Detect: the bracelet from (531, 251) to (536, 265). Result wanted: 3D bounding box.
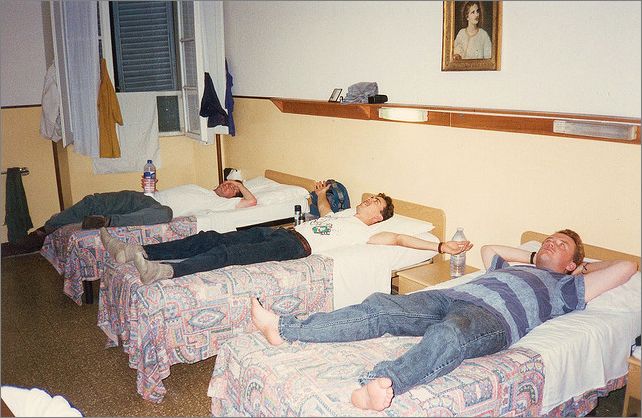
[{"bbox_3d":[1.751,0.399,3.902,0.032,0.080,0.070,10,-21,-9],"label":"bracelet"}]

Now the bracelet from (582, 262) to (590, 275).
[{"bbox_3d":[2.098,0.472,3.743,0.029,0.078,0.061,24,11,14],"label":"bracelet"}]

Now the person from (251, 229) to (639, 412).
[{"bbox_3d":[1.052,0.703,3.390,2.132,0.558,1.281,-11,5,-23],"label":"person"}]

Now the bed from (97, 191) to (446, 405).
[{"bbox_3d":[-0.614,0.704,4.132,1.709,0.665,1.680,-12,21,-32],"label":"bed"}]

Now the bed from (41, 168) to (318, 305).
[{"bbox_3d":[-1.527,0.121,5.398,2.459,0.791,1.431,-14,24,-37],"label":"bed"}]
